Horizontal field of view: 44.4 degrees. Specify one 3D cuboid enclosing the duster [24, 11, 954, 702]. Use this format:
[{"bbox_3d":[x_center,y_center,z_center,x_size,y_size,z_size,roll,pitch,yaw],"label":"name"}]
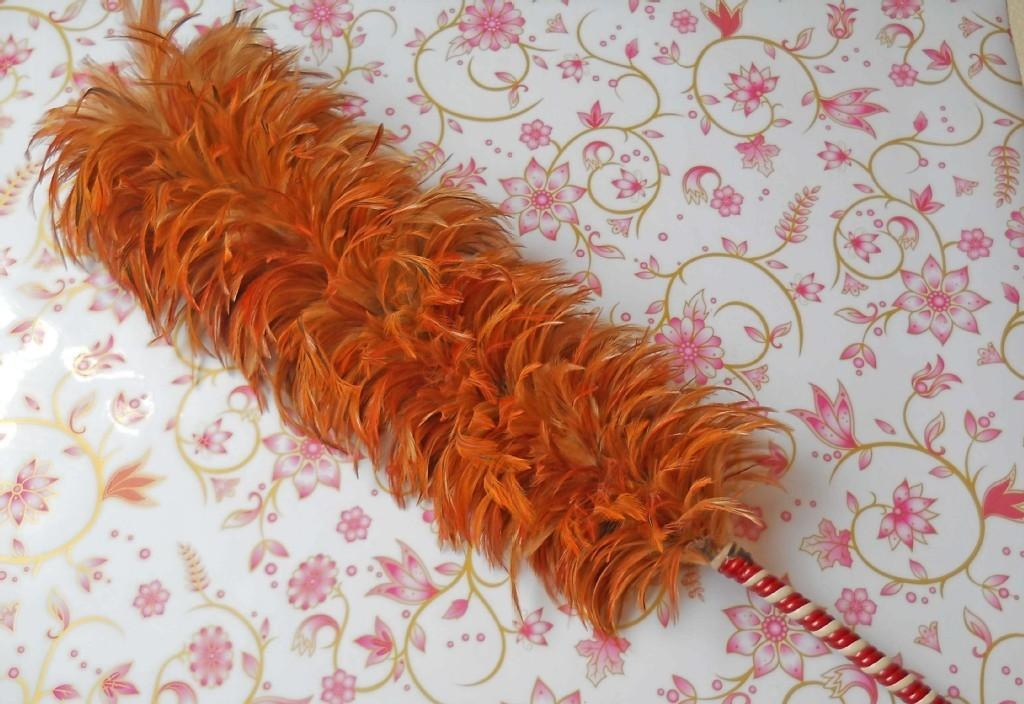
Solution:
[{"bbox_3d":[-0.050,0.052,1.990,1.255,0.411,0.373,35,82,9],"label":"duster"}]
